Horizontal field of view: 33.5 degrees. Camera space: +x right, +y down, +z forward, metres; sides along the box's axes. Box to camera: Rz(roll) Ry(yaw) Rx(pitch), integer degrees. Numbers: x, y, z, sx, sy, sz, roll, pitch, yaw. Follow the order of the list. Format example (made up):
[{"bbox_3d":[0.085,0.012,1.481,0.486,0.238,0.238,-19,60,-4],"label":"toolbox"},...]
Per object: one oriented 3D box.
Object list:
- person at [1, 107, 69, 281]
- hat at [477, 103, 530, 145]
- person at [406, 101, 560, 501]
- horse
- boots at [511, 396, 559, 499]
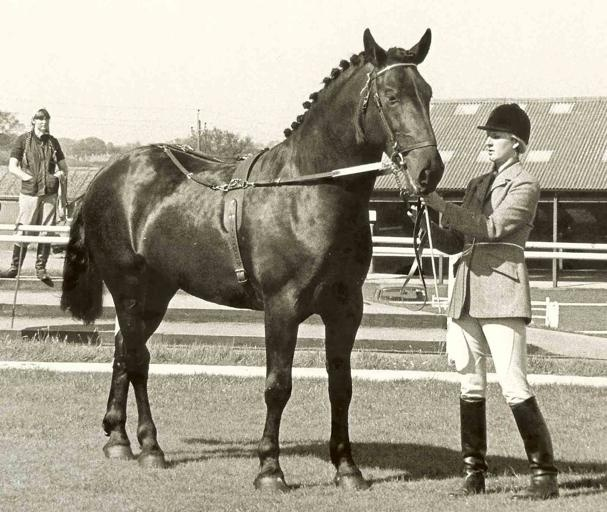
[{"bbox_3d":[-3.628,-0.789,13.756,0.771,2.453,1.124,2,1,-16],"label":"person"},{"bbox_3d":[1.475,-1.004,7.330,0.405,0.287,0.329,16,4,-5],"label":"hat"},{"bbox_3d":[1.387,0.293,7.276,0.956,2.525,0.637,2,1,14],"label":"person"},{"bbox_3d":[-0.481,-0.024,7.738,3.290,2.625,0.683,4,2,33],"label":"horse"},{"bbox_3d":[1.637,1.345,7.130,0.347,0.650,0.194,2,1,15],"label":"boots"}]
